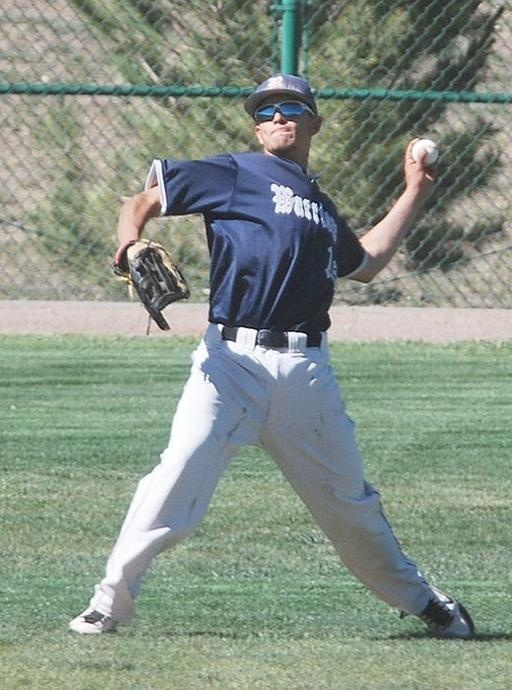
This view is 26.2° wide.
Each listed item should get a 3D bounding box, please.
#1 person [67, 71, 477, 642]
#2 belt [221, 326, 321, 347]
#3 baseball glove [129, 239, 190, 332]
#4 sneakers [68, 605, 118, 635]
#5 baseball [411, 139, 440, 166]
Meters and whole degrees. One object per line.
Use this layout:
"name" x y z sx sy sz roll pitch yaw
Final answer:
"person" 0.082 0.044 3.389 1.136 1.725 0.596 9 13 -8
"belt" 0.021 -0.017 3.232 0.248 0.053 0.062 6 11 -3
"baseball glove" -0.293 -0.170 3.210 0.195 0.254 0.195 11 12 6
"sneakers" -0.485 0.830 3.285 0.139 0.043 0.067 -2 19 0
"baseball" 0.551 -0.651 3.718 0.116 0.087 0.060 9 -9 -36
